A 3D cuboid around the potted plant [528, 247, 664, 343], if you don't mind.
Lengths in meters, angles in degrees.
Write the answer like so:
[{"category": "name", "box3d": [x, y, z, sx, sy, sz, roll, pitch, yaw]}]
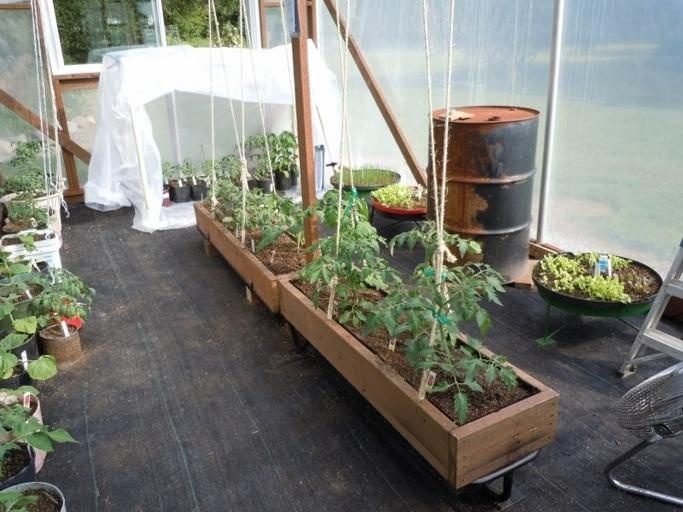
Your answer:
[{"category": "potted plant", "box3d": [1.976, 0.203, 3.571, 0.735, 0.510, 0.807, -21, 33, -27]}]
